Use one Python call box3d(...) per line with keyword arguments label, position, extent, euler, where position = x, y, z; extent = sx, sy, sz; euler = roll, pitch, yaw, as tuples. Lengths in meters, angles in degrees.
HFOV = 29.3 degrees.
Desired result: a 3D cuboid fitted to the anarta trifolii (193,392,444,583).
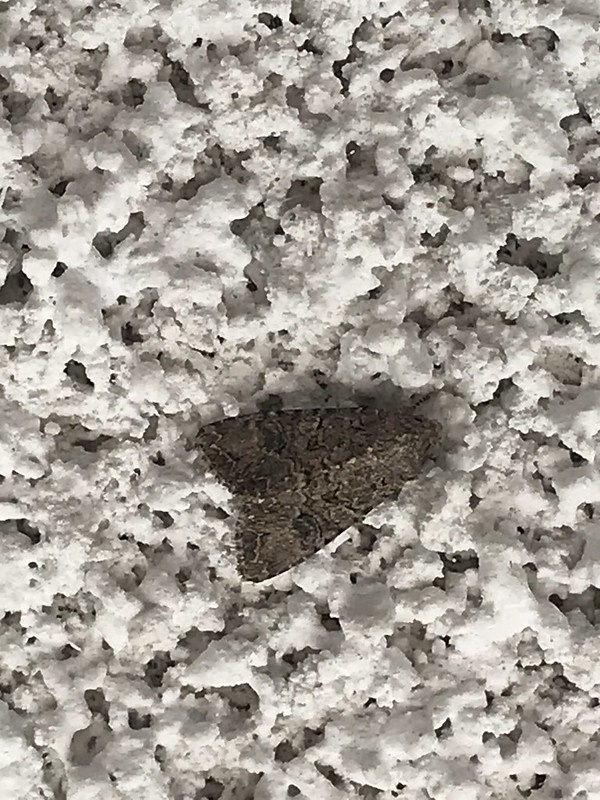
box3d(label="anarta trifolii", position=(0.066, 0.164, 2.445), extent=(0.505, 0.097, 0.351), euler=(-16, 84, -1))
